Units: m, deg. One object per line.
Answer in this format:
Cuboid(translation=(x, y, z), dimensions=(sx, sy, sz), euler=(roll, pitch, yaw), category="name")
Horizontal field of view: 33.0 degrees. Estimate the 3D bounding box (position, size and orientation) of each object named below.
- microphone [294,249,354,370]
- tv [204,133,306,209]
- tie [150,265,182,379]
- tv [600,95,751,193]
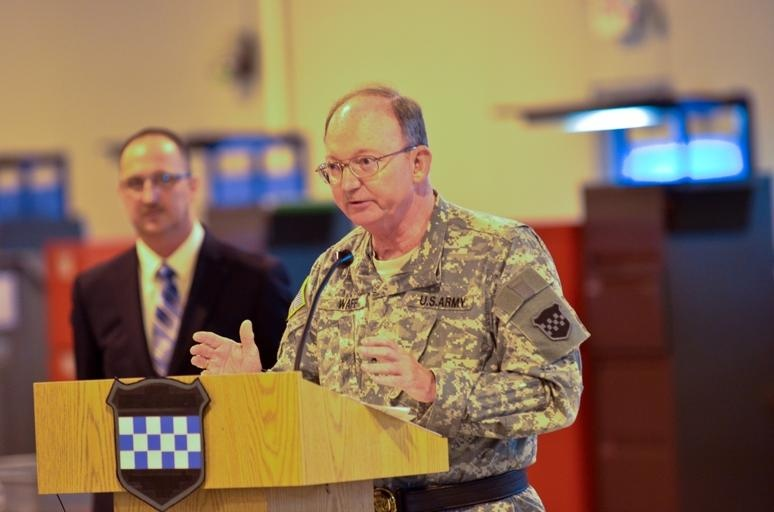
Cuboid(translation=(-0.274, 0.302, 5.557), dimensions=(0.212, 0.699, 0.131), euler=(3, 15, -29), category="microphone")
Cuboid(translation=(-0.706, -0.487, 6.913), dimensions=(0.538, 0.389, 0.306), euler=(-2, 22, -7), category="tv")
Cuboid(translation=(-1.127, 0.300, 6.647), dimensions=(0.153, 0.551, 0.070), euler=(-1, 0, -8), category="tie")
Cuboid(translation=(1.533, -0.572, 6.659), dimensions=(0.493, 0.518, 0.123), euler=(-1, -12, 3), category="tv")
